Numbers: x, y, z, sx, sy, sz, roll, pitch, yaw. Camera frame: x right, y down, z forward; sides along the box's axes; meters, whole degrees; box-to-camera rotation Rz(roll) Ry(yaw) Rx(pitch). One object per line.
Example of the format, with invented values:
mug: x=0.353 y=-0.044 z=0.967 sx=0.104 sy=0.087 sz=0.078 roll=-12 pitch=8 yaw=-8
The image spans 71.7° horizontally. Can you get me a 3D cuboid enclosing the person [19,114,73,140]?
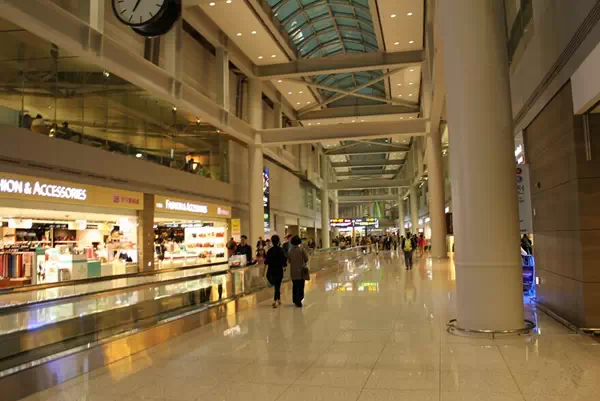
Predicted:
person: x=-8.298 y=-2.430 z=13.669 sx=0.240 sy=0.665 sz=1.841 roll=-6 pitch=-8 yaw=20

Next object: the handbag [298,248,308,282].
handbag: x=0.092 y=1.837 z=11.971 sx=0.165 sy=0.861 sz=0.549 roll=-3 pitch=-8 yaw=4

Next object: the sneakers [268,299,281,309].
sneakers: x=-0.740 y=2.974 z=11.999 sx=0.140 sy=0.214 sz=0.469 roll=3 pitch=5 yaw=17

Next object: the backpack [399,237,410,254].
backpack: x=5.071 y=2.164 z=20.306 sx=0.415 sy=0.752 sz=0.501 roll=-4 pitch=-8 yaw=8
